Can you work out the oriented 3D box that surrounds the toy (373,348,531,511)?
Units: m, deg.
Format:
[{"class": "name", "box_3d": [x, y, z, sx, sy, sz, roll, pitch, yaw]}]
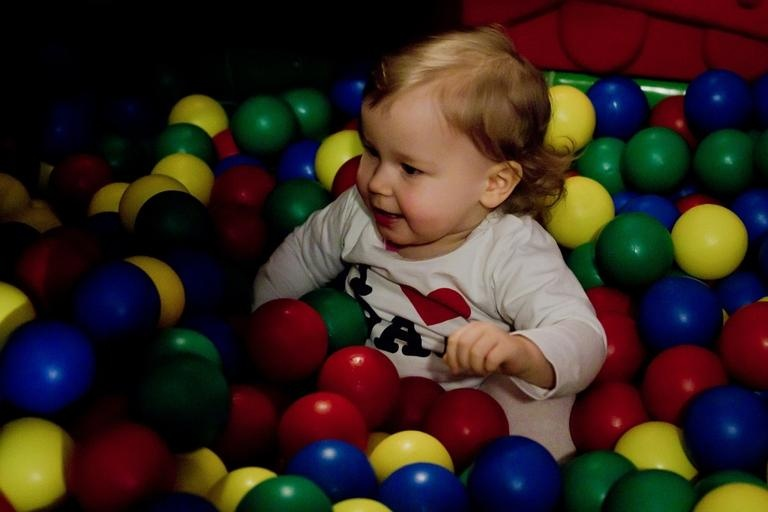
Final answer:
[{"class": "toy", "box_3d": [0.200, 0.452, 1.906, 0.192, 0.179, 0.444, 3, 17, 1]}]
